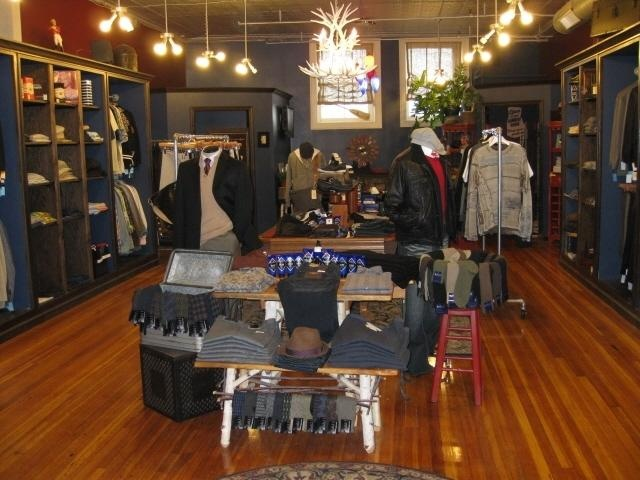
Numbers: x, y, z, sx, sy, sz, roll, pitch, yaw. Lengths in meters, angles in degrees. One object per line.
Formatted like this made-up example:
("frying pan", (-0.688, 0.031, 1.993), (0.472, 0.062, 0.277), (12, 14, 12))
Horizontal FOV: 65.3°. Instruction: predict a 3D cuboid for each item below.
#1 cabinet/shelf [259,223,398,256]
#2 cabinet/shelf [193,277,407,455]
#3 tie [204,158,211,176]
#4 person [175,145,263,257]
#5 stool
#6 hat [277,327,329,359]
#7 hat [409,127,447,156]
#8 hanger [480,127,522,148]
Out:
("cabinet/shelf", (0.108, 0.057, 5.571), (1.426, 0.238, 0.364), (0, 11, 6))
("cabinet/shelf", (-0.072, 0.831, 3.591), (1.308, 0.993, 0.970), (1, 11, 9))
("tie", (-1.087, -0.717, 4.868), (0.066, 0.154, 0.054), (-1, 10, 0))
("person", (-1.037, -0.374, 4.874), (0.763, 1.033, 0.278), (-1, 10, 0))
("stool", (1.117, 0.982, 4.106), (0.460, 0.871, 0.488), (0, 20, 11))
("hat", (-0.097, 0.653, 3.221), (0.356, 0.141, 0.333), (0, 3, 42))
("hat", (1.118, -0.998, 5.157), (0.330, 0.184, 0.256), (18, 39, 12))
("hanger", (2.103, -1.231, 5.992), (0.357, 0.218, 0.511), (-2, 21, 1))
